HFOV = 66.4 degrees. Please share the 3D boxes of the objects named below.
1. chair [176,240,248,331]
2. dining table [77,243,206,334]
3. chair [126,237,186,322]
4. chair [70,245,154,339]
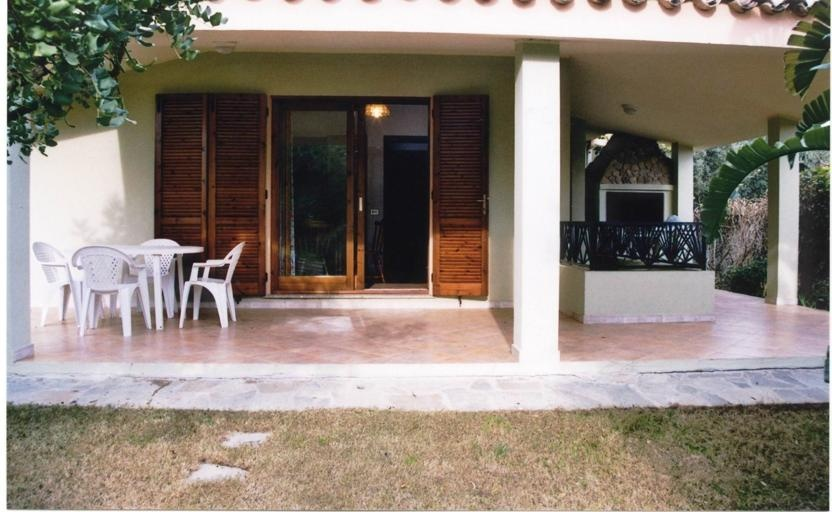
[{"bbox_3d":[-2.721,0.359,8.488,0.782,1.046,0.689,2,4,9],"label":"chair"},{"bbox_3d":[-3.648,0.222,8.305,1.388,0.866,1.209,2,13,2],"label":"dining table"},{"bbox_3d":[-3.608,0.421,8.449,0.586,0.757,0.543,11,-25,-35],"label":"chair"},{"bbox_3d":[-3.821,0.384,8.197,0.857,1.093,1.167,-1,5,-5],"label":"chair"}]
